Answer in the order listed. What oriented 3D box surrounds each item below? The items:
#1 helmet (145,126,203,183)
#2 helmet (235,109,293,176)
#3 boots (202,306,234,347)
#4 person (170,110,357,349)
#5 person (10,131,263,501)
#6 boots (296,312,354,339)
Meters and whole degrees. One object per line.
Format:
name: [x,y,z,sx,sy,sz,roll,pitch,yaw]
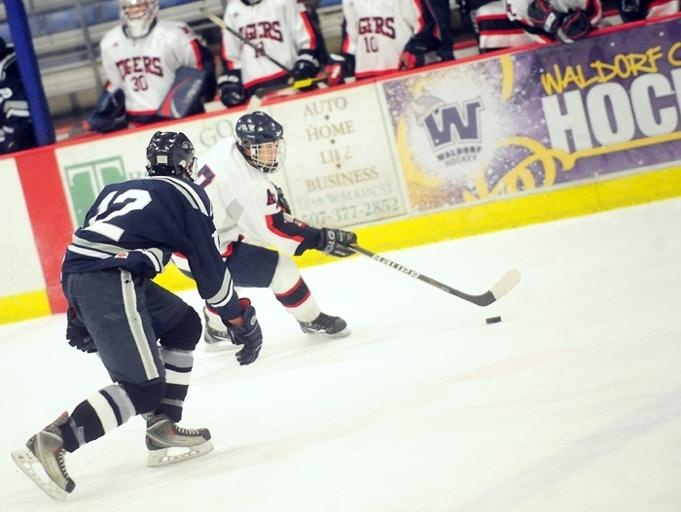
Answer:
helmet: [-0.756,-0.441,3.285,0.204,0.236,0.259,-2,5,-3]
helmet: [-0.444,-0.582,3.912,0.275,0.268,0.208,13,4,28]
boots: [-0.708,0.443,4.254,0.083,0.133,0.137,28,23,-15]
person: [-0.410,-0.133,4.221,1.012,1.410,0.745,5,29,9]
person: [-0.859,0.206,3.062,1.094,1.344,0.405,-16,14,-25]
boots: [-0.075,0.389,4.020,0.334,0.156,0.115,-3,33,20]
